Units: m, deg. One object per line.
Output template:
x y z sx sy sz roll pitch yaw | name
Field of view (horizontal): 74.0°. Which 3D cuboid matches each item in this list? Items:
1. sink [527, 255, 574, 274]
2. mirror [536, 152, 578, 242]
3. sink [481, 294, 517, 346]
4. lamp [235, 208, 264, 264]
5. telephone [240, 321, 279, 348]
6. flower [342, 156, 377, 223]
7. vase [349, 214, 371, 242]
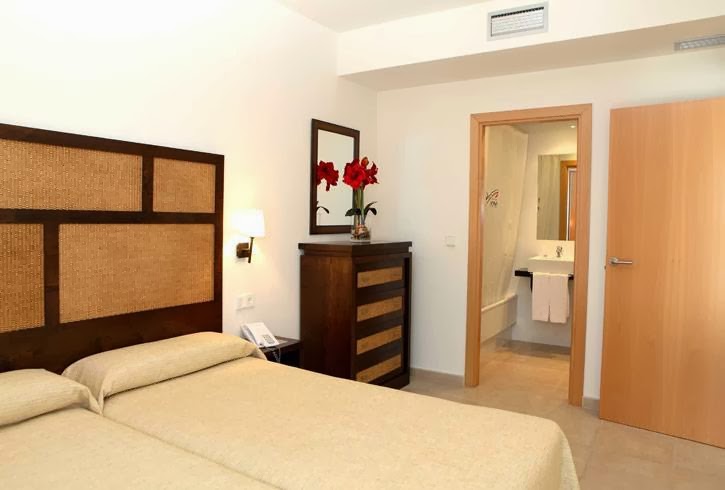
2.262 0.270 5.840 0.503 0.169 0.213 2 7 24 | sink
2.424 -0.596 6.114 0.443 1.084 0.165 3 7 25 | mirror
1.644 0.925 5.892 0.219 0.242 0.761 16 17 32 | sink
-0.840 -0.059 3.750 0.195 0.424 0.233 3 7 27 | lamp
-0.788 0.700 3.694 0.235 0.090 0.173 31 25 26 | telephone
-0.023 -0.554 4.677 0.309 0.629 0.750 0 6 0 | flower
-0.073 -0.162 4.388 0.230 0.248 0.218 -2 2 -40 | vase
